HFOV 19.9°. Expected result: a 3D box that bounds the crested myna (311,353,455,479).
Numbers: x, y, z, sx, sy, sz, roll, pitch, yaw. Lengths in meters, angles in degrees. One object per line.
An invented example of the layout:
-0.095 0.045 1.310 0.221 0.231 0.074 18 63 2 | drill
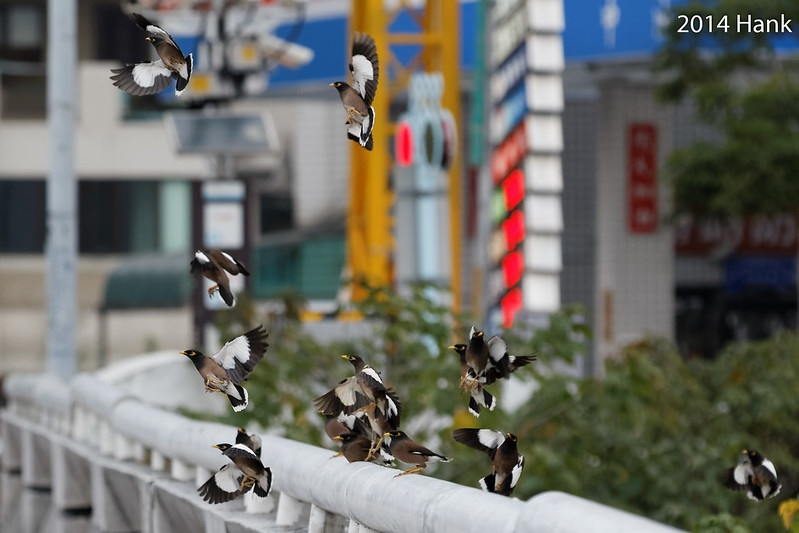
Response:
-0.096 0.754 12.590 0.681 0.646 0.528 18 -11 -1 | crested myna

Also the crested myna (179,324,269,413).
-0.952 0.563 12.488 0.463 0.465 0.207 -2 0 -5 | crested myna

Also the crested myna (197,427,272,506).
-0.901 1.159 12.572 0.308 0.403 0.519 4 -31 0 | crested myna

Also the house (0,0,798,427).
-0.919 -0.510 16.759 4.387 2.482 10.033 -3 0 -22 | house

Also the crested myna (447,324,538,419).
0.449 0.573 12.357 0.329 0.464 0.111 -2 0 4 | crested myna

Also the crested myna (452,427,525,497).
0.450 1.050 12.408 0.492 0.263 0.498 -15 -19 24 | crested myna

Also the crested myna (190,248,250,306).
-1.003 0.056 12.511 0.228 0.216 0.334 14 -2 15 | crested myna
